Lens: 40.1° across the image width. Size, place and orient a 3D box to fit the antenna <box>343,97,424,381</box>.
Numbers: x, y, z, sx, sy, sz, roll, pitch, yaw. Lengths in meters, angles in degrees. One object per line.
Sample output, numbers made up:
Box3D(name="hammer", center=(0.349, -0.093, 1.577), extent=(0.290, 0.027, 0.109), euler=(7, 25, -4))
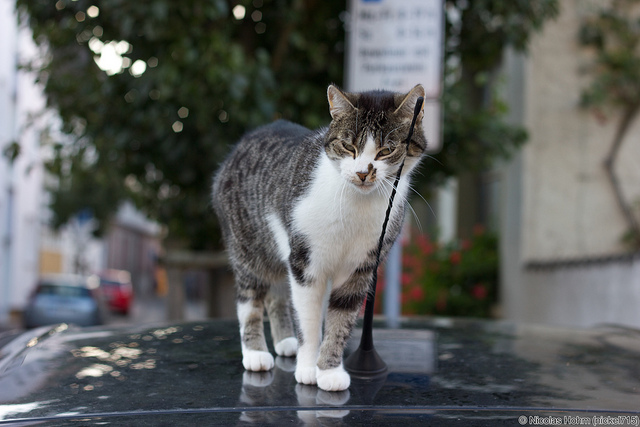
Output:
Box3D(name="antenna", center=(0.439, 0.216, 6.230), extent=(0.335, 0.391, 2.345), euler=(17, 45, 1))
